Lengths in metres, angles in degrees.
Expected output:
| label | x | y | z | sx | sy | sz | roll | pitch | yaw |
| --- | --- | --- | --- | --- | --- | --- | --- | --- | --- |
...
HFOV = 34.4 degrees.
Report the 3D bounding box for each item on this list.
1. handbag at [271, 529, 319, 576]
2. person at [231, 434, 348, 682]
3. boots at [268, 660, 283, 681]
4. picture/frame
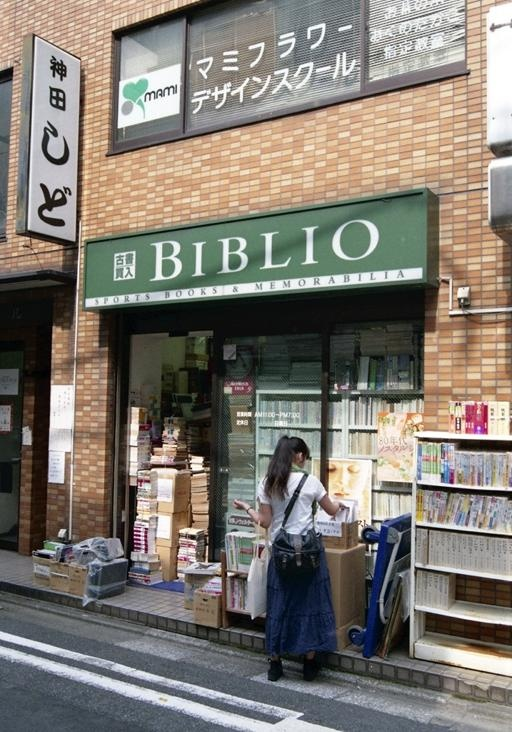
| label | x | y | z | sx | sy | sz | roll | pitch | yaw |
| --- | --- | --- | --- | --- | --- | --- | --- | --- | --- |
| handbag | 0.288 | 1.251 | 5.655 | 0.240 | 0.344 | 0.232 | 0 | 3 | 3 |
| person | 0.260 | 1.358 | 5.875 | 0.624 | 1.690 | 0.560 | 0 | 0 | 6 |
| boots | 0.137 | 2.133 | 5.843 | 0.107 | 0.141 | 0.170 | 0 | 0 | 2 |
| picture/frame | 0.725 | 1.085 | 6.674 | 0.573 | 0.794 | 0.060 | -10 | -24 | 29 |
